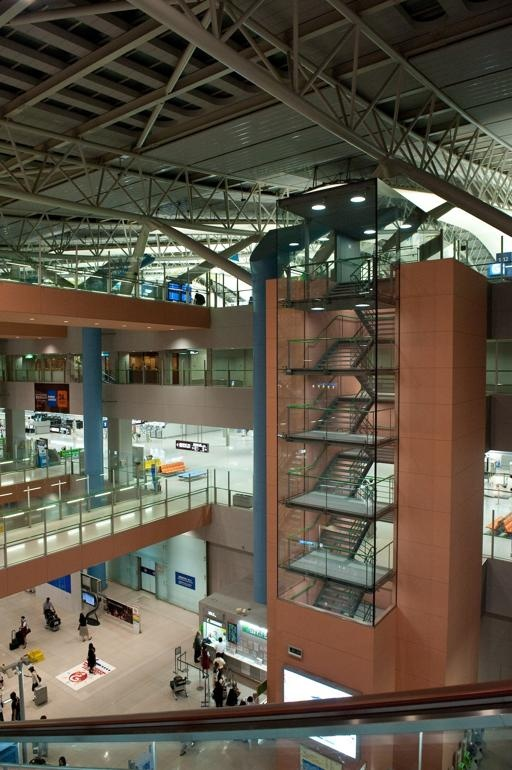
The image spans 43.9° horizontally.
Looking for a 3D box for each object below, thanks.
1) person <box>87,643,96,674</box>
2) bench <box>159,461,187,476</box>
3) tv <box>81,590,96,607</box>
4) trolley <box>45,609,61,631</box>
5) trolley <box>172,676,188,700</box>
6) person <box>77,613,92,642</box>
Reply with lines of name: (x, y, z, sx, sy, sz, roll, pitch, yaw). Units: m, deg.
person: (-4.802, 8.080, 18.679, 0.216, 0.766, 0.391, 0, 0, -14)
bench: (-3.940, 4.035, 30.269, 0.569, 0.510, 1.351, -1, 3, 38)
tv: (-6.075, 7.974, 23.303, 0.211, 0.615, 0.887, -1, 5, -41)
trolley: (-7.058, 8.228, 22.159, 0.494, 0.695, 0.668, -1, -2, -43)
trolley: (-2.156, 8.278, 17.373, 0.459, 0.565, 0.611, 1, -5, -14)
person: (-5.707, 8.090, 21.278, 0.365, 0.873, 0.821, 0, 0, -16)
